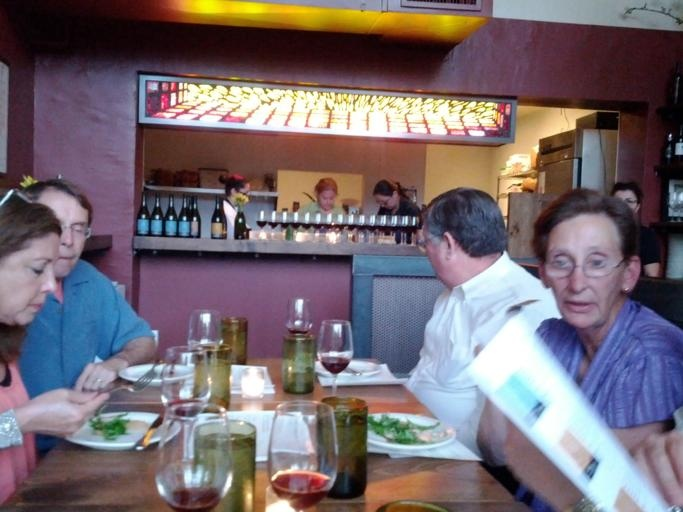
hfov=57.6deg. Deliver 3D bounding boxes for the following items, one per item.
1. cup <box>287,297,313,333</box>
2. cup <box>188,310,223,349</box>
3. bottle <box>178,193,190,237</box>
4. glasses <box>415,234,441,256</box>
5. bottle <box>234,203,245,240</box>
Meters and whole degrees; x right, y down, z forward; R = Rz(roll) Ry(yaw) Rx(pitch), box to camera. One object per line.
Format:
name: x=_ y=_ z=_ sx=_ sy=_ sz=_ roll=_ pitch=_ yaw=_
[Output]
cup: x=-0.149 y=0.217 z=2.258 sx=0.110 sy=0.143 sz=0.104 roll=0 pitch=0 yaw=0
cup: x=-0.463 y=0.254 z=2.164 sx=0.114 sy=0.114 sz=0.115 roll=3 pitch=-2 yaw=0
bottle: x=-1.102 y=-0.273 z=4.330 sx=0.089 sy=0.281 sz=0.416 roll=-4 pitch=3 yaw=-13
glasses: x=0.355 y=-0.049 z=2.532 sx=0.030 sy=0.092 sz=0.087 roll=-24 pitch=8 yaw=-27
bottle: x=-0.722 y=-0.240 z=4.382 sx=0.093 sy=0.228 sz=0.259 roll=-4 pitch=3 yaw=-9
